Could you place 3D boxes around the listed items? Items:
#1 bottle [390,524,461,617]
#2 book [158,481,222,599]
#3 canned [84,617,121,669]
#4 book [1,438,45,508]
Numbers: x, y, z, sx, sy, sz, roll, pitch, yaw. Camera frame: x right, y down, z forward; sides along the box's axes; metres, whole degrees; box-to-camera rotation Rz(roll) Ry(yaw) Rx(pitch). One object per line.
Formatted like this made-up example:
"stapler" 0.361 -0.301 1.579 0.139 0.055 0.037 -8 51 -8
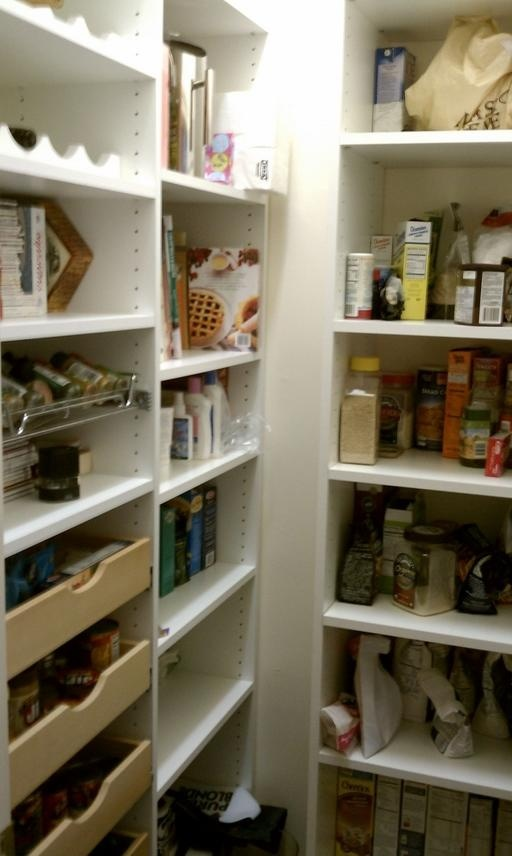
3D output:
"bottle" 0.386 0.324 1.486 0.170 0.203 0.130 0 3 -32
"book" -0.157 0.267 1.489 0.073 0.243 0.248 2 9 18
"canned" -0.240 0.346 1.029 0.047 0.063 0.053 1 12 10
"book" -0.337 0.067 0.918 0.017 0.069 0.046 6 6 21
